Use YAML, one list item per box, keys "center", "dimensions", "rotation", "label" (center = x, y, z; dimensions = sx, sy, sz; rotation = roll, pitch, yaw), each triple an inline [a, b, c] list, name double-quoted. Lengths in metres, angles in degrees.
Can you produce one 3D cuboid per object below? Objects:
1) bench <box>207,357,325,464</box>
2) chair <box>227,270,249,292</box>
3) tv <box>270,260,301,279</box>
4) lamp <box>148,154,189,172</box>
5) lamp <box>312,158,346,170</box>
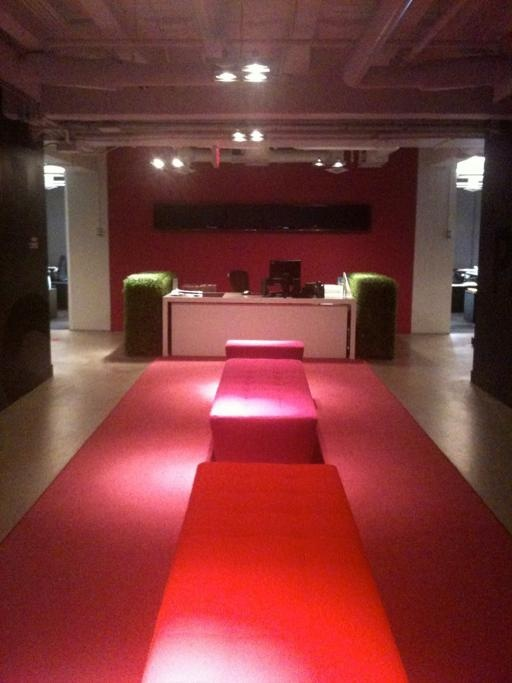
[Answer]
- center: [0.052, 0.521, 3.454]
  dimensions: [0.618, 0.484, 0.982]
  rotation: [1, 19, -2]
  label: "bench"
- center: [-0.294, -0.997, 7.746]
  dimensions: [0.318, 0.448, 0.375]
  rotation: [0, 9, -1]
  label: "chair"
- center: [0.424, -1.051, 6.861]
  dimensions: [0.435, 0.308, 0.142]
  rotation: [-6, 3, -1]
  label: "tv"
- center: [-1.552, -3.101, 8.117]
  dimensions: [0.589, 0.262, 0.488]
  rotation: [1, 5, 7]
  label: "lamp"
- center: [1.317, -3.148, 8.381]
  dimensions: [0.400, 0.168, 0.448]
  rotation: [2, 8, 6]
  label: "lamp"
